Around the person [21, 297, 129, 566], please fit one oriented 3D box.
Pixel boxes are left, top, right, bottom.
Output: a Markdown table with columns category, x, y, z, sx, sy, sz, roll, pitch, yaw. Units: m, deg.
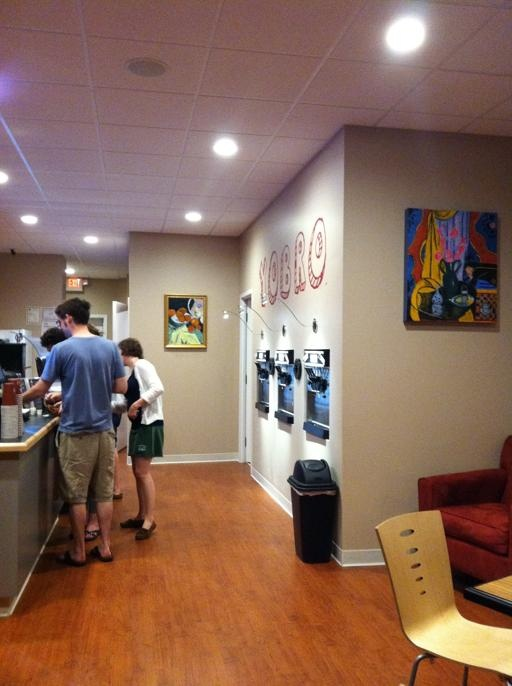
| category | x | y | z | sx | sy | sz | roll | pitch | yaw |
| --- | --- | --- | --- | --- | --- | --- | --- | --- | --- |
| person | -1.178 | 0.561 | 3.388 | 0.548 | 1.686 | 0.505 | -2 | 4 | -34 |

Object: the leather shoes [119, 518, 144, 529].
| category | x | y | z | sx | sy | sz | roll | pitch | yaw |
| --- | --- | --- | --- | --- | --- | --- | --- | --- | --- |
| leather shoes | -1.005 | 1.482 | 4.279 | 0.213 | 0.092 | 0.081 | 5 | -6 | -12 |

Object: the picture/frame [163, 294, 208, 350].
| category | x | y | z | sx | sy | sz | roll | pitch | yaw |
| --- | --- | --- | --- | --- | --- | --- | --- | --- | --- |
| picture/frame | -1.007 | -0.280 | 7.259 | 0.700 | 1.008 | 0.062 | -1 | 1 | -16 |

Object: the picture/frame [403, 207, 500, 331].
| category | x | y | z | sx | sy | sz | roll | pitch | yaw |
| --- | --- | --- | --- | --- | --- | --- | --- | --- | --- |
| picture/frame | 1.304 | -0.503 | 3.585 | 0.774 | 0.960 | 0.061 | 1 | -4 | -16 |

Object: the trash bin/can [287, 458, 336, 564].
| category | x | y | z | sx | sy | sz | roll | pitch | yaw |
| --- | --- | --- | --- | --- | --- | --- | --- | --- | --- |
| trash bin/can | 0.389 | 1.150 | 3.593 | 0.285 | 0.661 | 0.288 | 2 | -4 | -17 |

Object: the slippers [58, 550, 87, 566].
| category | x | y | z | sx | sy | sz | roll | pitch | yaw |
| --- | --- | --- | --- | --- | --- | --- | --- | --- | --- |
| slippers | -1.191 | 1.403 | 3.415 | 0.183 | 0.073 | 0.074 | 10 | 4 | 26 |

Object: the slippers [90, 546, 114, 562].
| category | x | y | z | sx | sy | sz | roll | pitch | yaw |
| --- | --- | --- | --- | --- | --- | --- | --- | --- | --- |
| slippers | -1.044 | 1.410 | 3.538 | 0.072 | 0.073 | 0.207 | 5 | -5 | -34 |
